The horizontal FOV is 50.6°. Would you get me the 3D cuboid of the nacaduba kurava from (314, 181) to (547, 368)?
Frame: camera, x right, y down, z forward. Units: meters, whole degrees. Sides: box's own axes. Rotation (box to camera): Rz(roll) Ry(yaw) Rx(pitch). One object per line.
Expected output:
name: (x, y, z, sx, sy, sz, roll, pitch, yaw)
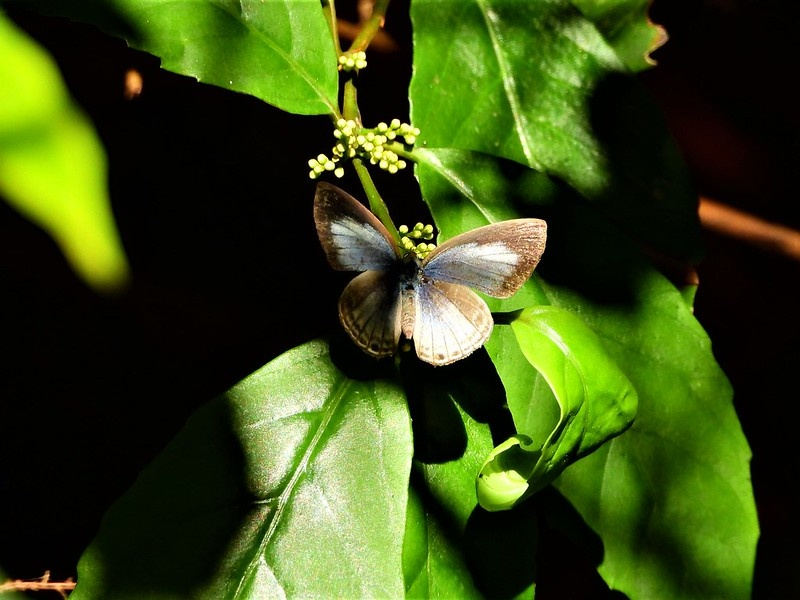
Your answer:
nacaduba kurava: (0.048, -0.030, 1.094, 0.198, 0.059, 0.173, 11, 93, 1)
